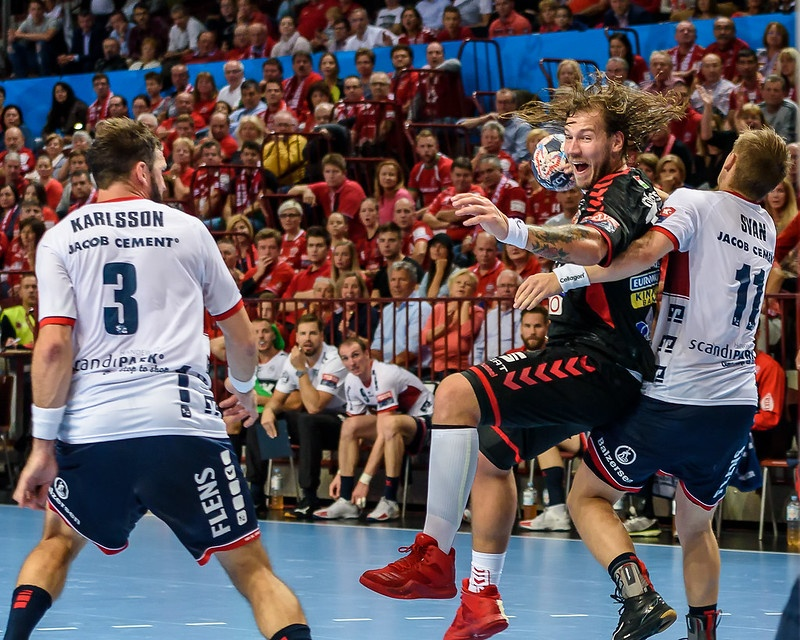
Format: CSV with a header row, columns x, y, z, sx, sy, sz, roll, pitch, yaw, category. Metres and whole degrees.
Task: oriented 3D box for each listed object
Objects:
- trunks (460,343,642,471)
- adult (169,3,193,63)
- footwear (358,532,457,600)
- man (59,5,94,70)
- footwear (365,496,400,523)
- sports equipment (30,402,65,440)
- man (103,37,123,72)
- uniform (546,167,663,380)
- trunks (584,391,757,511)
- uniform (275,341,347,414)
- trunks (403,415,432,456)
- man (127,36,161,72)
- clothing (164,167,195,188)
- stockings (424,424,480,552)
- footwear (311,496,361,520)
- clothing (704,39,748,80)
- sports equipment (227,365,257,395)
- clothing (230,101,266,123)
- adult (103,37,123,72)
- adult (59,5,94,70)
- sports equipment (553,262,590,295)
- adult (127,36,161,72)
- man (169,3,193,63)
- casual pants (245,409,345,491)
x,y,z,sx,sy,sz,roll,pitch,yaw,category
0.487,0.352,4.841,1.017,0.335,0.607,-7,-1,-18,trunks
-4.143,-5.355,19.057,0.535,1.105,0.966,-6,6,-11,adult
0.026,1.165,4.862,0.550,0.360,0.214,5,-2,-2,footwear
-6.410,-5.441,20.069,0.725,1.326,1.029,-6,6,-11,man
-0.155,1.788,9.615,0.311,0.184,0.156,-2,2,-39,footwear
-1.387,0.402,4.047,0.118,0.121,0.135,-5,-12,40,sports equipment
-5.502,-4.992,19.324,0.522,0.667,0.704,-6,6,-15,man
0.984,-0.180,4.887,0.457,1.059,1.308,2,-2,16,uniform
1.289,0.596,4.892,0.725,0.538,0.413,8,13,-7,trunks
-0.915,0.683,10.304,0.717,0.780,0.701,-8,14,3,uniform
0.173,1.093,9.581,0.146,0.449,0.202,4,-8,40,trunks
-4.774,-4.878,18.898,0.562,0.759,1.457,-6,6,-14,man
-3.158,-2.062,14.619,0.387,0.380,0.141,-1,-26,19,clothing
0.236,0.784,4.728,0.284,0.601,0.180,-5,6,2,stockings
-0.598,1.811,9.769,0.490,0.234,0.180,1,-6,4,footwear
4.143,-3.230,12.849,0.594,0.243,0.689,13,-31,31,clothing
-0.701,0.265,4.496,0.108,0.089,0.110,-1,7,-5,sports equipment
-2.331,-3.107,15.386,0.466,0.166,0.359,-30,0,-37,clothing
-5.505,-4.995,19.335,0.522,0.663,0.682,-6,6,-15,adult
-6.410,-5.441,20.069,0.725,1.326,1.029,-6,6,-11,adult
0.751,-0.186,4.451,0.127,0.131,0.055,-14,-1,-1,sports equipment
-4.768,-4.877,18.874,0.562,0.759,1.407,-6,6,-14,adult
-4.143,-5.355,19.058,0.535,1.105,0.964,-6,6,-11,man
-1.006,1.208,10.298,0.985,0.975,0.772,-3,-7,25,casual pants
